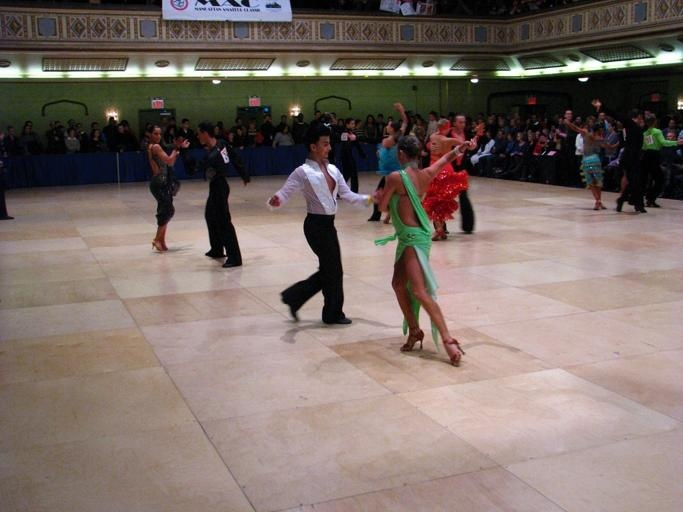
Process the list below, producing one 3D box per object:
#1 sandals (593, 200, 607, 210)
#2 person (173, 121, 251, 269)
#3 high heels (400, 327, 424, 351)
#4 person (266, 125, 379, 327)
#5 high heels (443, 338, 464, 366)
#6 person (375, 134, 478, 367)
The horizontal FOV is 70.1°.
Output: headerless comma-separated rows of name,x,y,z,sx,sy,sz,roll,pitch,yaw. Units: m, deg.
sandals,6.287,-1.230,11.887,0.168,0.207,0.500,-2,7,14
person,-1.998,-1.017,7.952,0.989,2.278,1.052,-5,15,-12
high heels,0.674,0.792,4.572,0.303,0.228,0.135,0,5,-6
person,-0.281,-0.301,5.189,0.739,2.117,0.453,-2,15,0
high heels,0.969,0.848,4.239,0.135,0.318,0.112,-5,52,19
person,0.707,-0.086,4.465,0.792,2.001,1.038,-1,14,5
